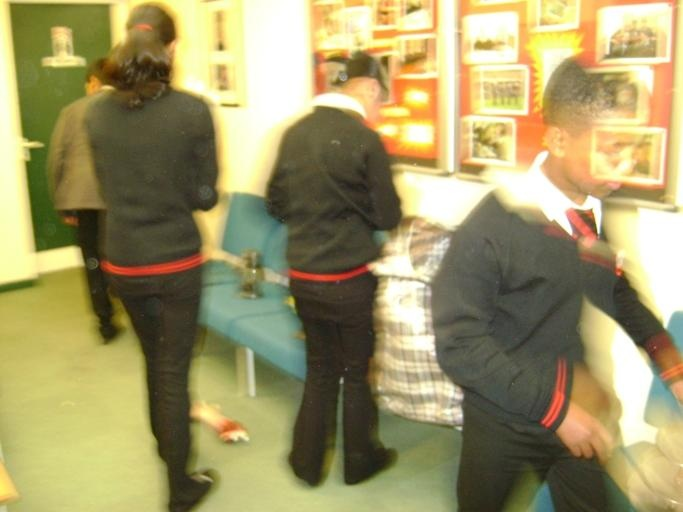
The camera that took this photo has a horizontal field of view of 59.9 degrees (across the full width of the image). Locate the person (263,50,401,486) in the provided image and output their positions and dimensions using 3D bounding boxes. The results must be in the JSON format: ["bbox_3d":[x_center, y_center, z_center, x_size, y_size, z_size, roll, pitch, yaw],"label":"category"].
[{"bbox_3d":[-0.024,0.155,2.698,0.591,2.030,0.278,-3,20,-6],"label":"person"}]

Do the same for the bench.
[{"bbox_3d":[-0.257,0.237,3.046,0.428,0.582,1.288,-8,23,-36],"label":"bench"}]

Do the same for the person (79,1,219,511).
[{"bbox_3d":[-0.753,0.108,2.553,0.407,2.222,0.288,-19,26,-41],"label":"person"}]

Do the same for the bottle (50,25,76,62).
[{"bbox_3d":[-2.770,-2.137,5.894,0.225,0.289,0.188,-11,21,-29],"label":"bottle"}]
